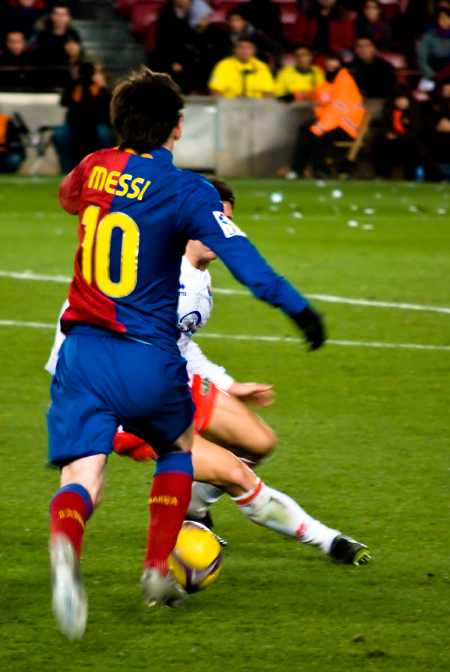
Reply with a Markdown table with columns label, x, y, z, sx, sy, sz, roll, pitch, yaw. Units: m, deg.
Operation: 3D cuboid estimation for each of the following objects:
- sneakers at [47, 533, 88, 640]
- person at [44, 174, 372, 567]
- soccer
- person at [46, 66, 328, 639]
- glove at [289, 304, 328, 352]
| label | x | y | z | sx | sy | sz | roll | pitch | yaw |
| --- | --- | --- | --- | --- | --- | --- | --- | --- | --- |
| sneakers | -0.309 | 0.489 | 1.653 | 0.083 | 0.186 | 0.092 | -12 | -16 | -7 |
| person | 0.052 | 0.122 | 2.457 | 1.080 | 0.968 | 0.443 | 20 | 14 | 7 |
| soccer | -0.073 | 0.579 | 2.216 | 0.197 | 0.168 | 0.189 | -3 | 57 | 1 |
| person | -0.157 | -0.012 | 2.001 | 0.570 | 1.292 | 0.894 | -3 | 12 | -11 |
| glove | 0.195 | -0.021 | 1.881 | 0.065 | 0.100 | 0.030 | -30 | 34 | -2 |
